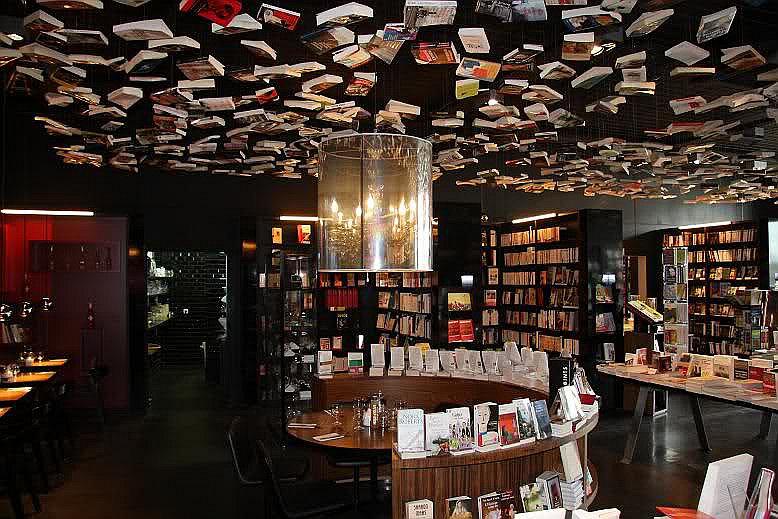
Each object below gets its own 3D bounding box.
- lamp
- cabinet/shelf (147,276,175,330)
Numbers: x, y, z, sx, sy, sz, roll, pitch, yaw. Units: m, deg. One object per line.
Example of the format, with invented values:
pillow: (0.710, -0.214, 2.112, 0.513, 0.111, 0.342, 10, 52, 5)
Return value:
lamp: (0.149, -0.590, 6.402, 1.586, 1.473, 1.466, -1, 1, -24)
cabinet/shelf: (-5.982, 1.006, 14.741, 0.597, 1.218, 1.457, 6, 3, 0)
